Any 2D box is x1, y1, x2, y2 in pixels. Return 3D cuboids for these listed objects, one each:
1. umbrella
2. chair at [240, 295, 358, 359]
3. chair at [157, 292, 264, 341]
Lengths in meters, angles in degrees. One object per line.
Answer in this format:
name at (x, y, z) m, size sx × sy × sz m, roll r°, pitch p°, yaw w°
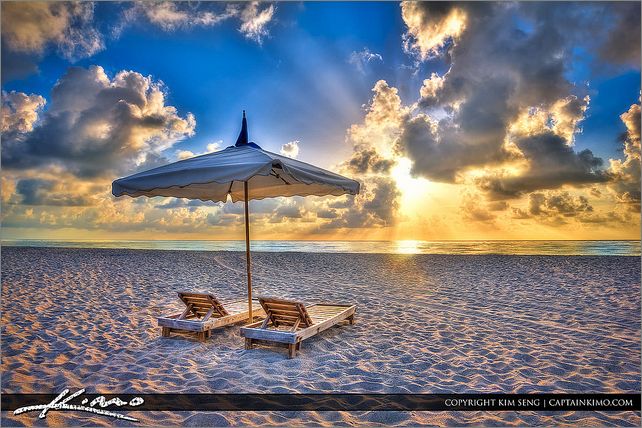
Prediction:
umbrella at (-1.367, -0.071, 10.142) m, size 4.749 × 3.919 × 4.556 m, roll -2°, pitch 5°, yaw -6°
chair at (-0.311, 2.184, 9.516) m, size 1.035 × 0.684 × 2.239 m, roll 0°, pitch 0°, yaw 30°
chair at (-2.199, 2.153, 9.972) m, size 0.922 × 0.722 × 2.073 m, roll -1°, pitch -3°, yaw 30°
